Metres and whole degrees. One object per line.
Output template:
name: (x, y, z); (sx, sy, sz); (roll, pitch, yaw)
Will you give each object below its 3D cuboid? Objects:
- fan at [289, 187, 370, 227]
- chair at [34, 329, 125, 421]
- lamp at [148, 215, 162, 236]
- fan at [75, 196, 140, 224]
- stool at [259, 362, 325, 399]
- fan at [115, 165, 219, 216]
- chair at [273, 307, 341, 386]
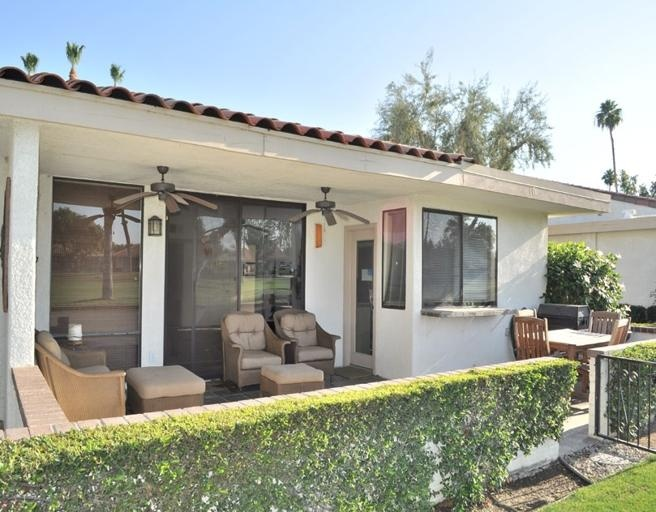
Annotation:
fan: (0.053, -0.667, 8.216); (0.728, 0.375, 0.783); (-7, -13, 14)
chair: (-2.837, 1.230, 6.103); (0.833, 0.832, 1.405); (-3, 10, -30)
lamp: (-2.520, -0.440, 7.871); (0.202, 0.308, 0.250); (-1, 9, -20)
fan: (-3.069, -0.642, 7.646); (0.601, 0.185, 0.601); (-3, -2, -43)
stool: (-0.499, 1.658, 7.225); (0.729, 0.375, 0.644); (-2, 9, -27)
fan: (-2.297, -0.847, 7.190); (1.111, 0.702, 1.725); (-2, 9, -24)
chair: (-0.345, 1.462, 8.823); (1.067, 1.297, 1.020); (4, -8, -27)
